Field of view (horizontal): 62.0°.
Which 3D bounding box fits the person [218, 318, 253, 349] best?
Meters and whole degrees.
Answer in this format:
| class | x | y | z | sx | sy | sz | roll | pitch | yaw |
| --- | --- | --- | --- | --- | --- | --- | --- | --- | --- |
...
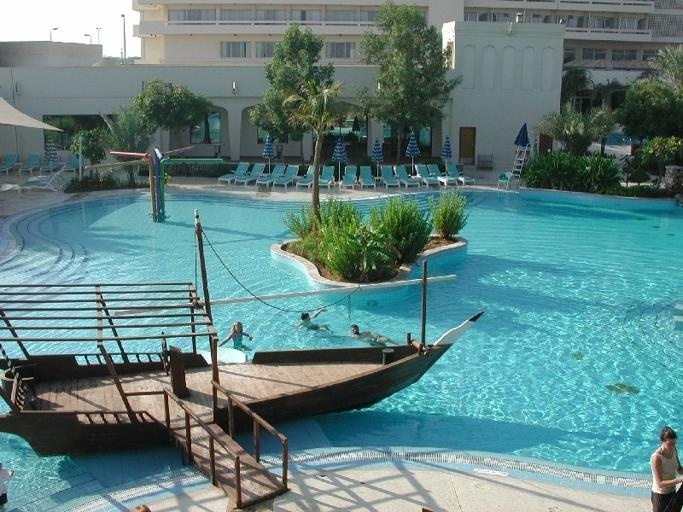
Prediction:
| class | x | y | z | sx | sy | sz | roll | pitch | yaw |
| --- | --- | --- | --- | --- | --- | --- | --- | --- | --- |
| person | -2.103 | 1.561 | 11.378 | 0.551 | 0.701 | 0.286 | -14 | 18 | -41 |
